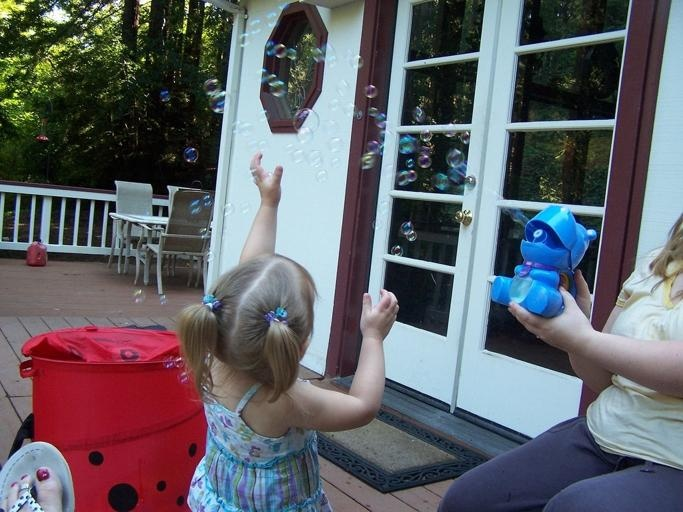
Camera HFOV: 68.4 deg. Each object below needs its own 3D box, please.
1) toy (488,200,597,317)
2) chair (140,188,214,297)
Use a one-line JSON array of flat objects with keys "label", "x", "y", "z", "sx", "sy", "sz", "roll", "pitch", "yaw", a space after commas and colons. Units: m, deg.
[{"label": "toy", "x": 0.468, "y": 0.006, "z": 1.170, "sx": 0.155, "sy": 0.246, "sz": 0.201, "roll": 11, "pitch": 9, "yaw": 44}, {"label": "chair", "x": -1.946, "y": -0.174, "z": 6.140, "sx": 0.746, "sy": 1.213, "sz": 0.727, "roll": 10, "pitch": 4, "yaw": 42}]
